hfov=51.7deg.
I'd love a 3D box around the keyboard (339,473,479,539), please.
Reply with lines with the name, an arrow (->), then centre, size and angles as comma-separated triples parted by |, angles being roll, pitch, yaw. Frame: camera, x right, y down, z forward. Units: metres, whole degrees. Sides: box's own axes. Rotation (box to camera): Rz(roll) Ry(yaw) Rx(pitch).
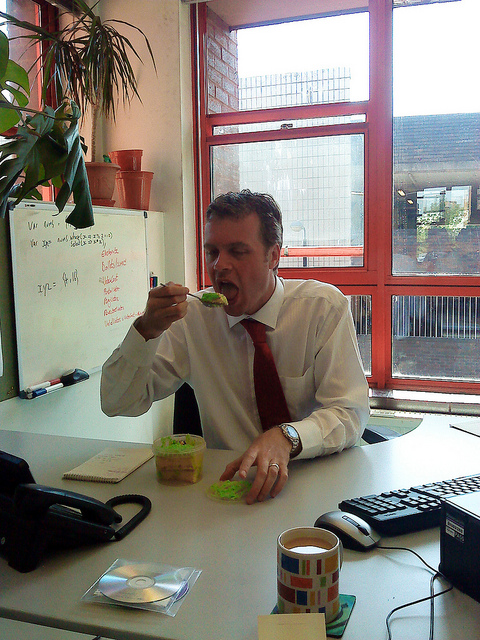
keyboard -> 0.338, 0.337, 0.915 | 0.305, 0.055, 0.103 | -3, 4, -18

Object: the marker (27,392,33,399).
marker -> -0.831, 0.303, 1.976 | 0.027, 0.030, 0.015 | 2, 7, 7

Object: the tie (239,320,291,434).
tie -> 0.088, 0.148, 1.416 | 0.081, 0.349, 0.014 | -13, -4, 33

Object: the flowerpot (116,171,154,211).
flowerpot -> -0.600, -0.734, 2.904 | 0.184, 0.206, 0.206 | 6, 10, 29

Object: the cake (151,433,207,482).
cake -> -0.135, 0.319, 1.122 | 0.124, 0.102, 0.142 | 0, -9, 3

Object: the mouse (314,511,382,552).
mouse -> 0.179, 0.339, 0.806 | 0.089, 0.038, 0.052 | 13, 11, 37

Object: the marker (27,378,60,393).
marker -> -0.810, 0.273, 2.064 | 0.023, 0.022, 0.124 | 36, 29, 17

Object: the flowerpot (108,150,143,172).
flowerpot -> -0.645, -0.909, 2.850 | 0.145, 0.112, 0.151 | -9, 19, -25

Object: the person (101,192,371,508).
person -> 0.043, 0.021, 1.437 | 0.644, 0.796, 0.732 | -5, 5, -38

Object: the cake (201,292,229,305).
cake -> -0.070, -0.058, 1.399 | 0.054, 0.036, 0.084 | 0, 5, 22

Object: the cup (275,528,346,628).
cup -> 0.082, 0.304, 0.592 | 0.061, 0.101, 0.106 | 0, 1, 14
